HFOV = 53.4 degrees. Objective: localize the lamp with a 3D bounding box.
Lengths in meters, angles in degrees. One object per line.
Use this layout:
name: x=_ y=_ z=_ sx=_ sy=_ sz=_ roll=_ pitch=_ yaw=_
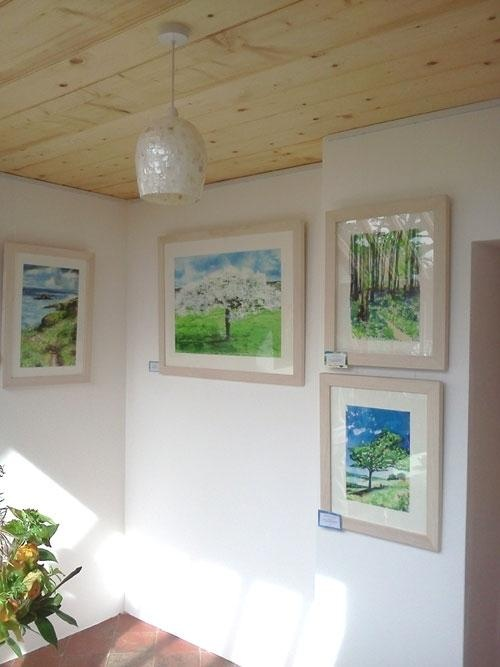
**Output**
lamp: x=-0.181 y=-0.467 z=1.099 sx=0.138 sy=0.366 sz=0.307 roll=2 pitch=0 yaw=-14
